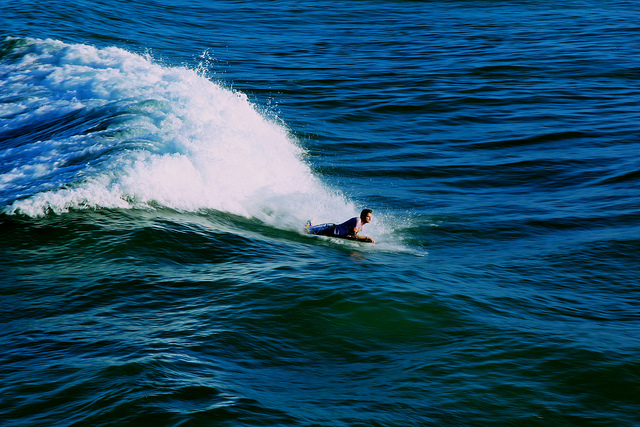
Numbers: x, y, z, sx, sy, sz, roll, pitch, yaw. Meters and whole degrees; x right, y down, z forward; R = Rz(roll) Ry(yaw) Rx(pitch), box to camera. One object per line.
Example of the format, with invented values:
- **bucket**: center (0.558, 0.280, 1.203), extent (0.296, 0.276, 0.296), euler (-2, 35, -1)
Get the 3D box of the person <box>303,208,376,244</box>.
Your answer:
- **person**: center (0.615, 0.319, 21.716), extent (2.119, 0.558, 0.648), euler (2, -7, 28)
